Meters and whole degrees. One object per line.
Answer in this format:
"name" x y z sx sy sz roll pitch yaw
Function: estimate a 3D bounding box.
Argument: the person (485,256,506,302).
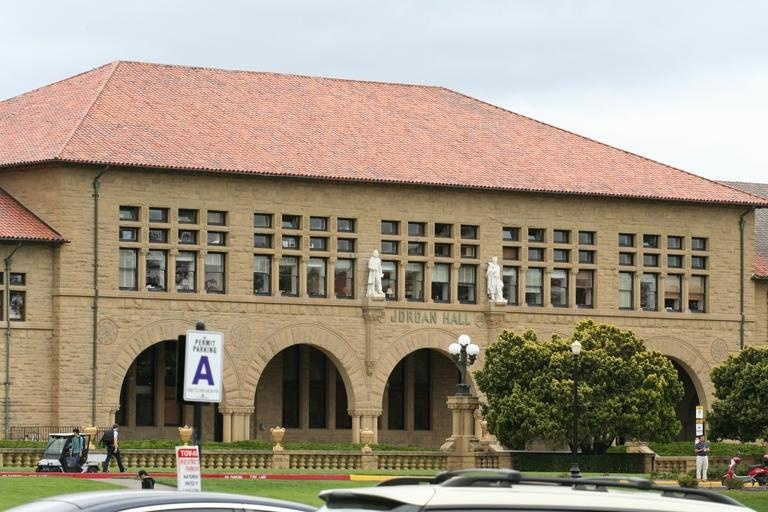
"person" 5.984 1.339 104.128 0.742 2.619 1.085 -12 -18 41

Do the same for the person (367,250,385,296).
"person" -0.481 1.069 102.457 0.969 2.568 0.715 1 -14 -3

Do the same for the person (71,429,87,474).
"person" -13.586 8.604 85.330 0.692 1.754 0.961 2 -13 -7
